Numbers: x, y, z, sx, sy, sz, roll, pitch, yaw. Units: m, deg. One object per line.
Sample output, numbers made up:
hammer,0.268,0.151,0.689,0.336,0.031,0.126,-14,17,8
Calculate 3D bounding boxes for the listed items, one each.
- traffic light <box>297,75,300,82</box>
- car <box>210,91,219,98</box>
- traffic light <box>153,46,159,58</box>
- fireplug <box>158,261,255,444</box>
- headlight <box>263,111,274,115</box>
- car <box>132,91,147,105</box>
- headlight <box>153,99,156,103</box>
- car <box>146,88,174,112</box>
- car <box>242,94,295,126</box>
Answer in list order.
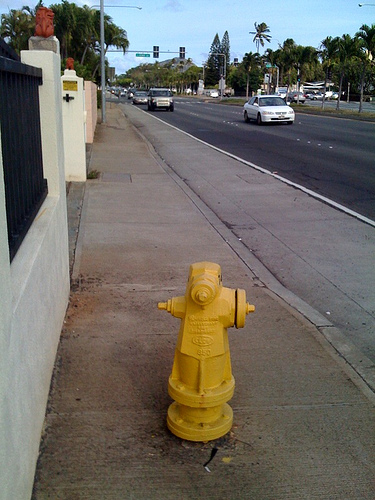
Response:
traffic light,15.521,-24.095,58.883,0.252,0.796,0.680,6,13,21
car,6.409,-36.801,99.927,1.910,1.615,4.705,2,13,1
traffic light,-4.838,-30.133,64.152,0.608,1.622,1.357,3,12,4
fireplug,0.077,0.563,2.564,0.457,1.101,0.545,0,12,-3
headlight,5.625,-9.584,29.389,0.701,0.238,0.224,4,13,8
car,-6.973,-22.188,61.406,1.347,1.197,3.131,-2,11,-9
headlight,-3.560,-16.006,45.098,0.068,0.281,0.287,-4,27,-39
car,-2.959,-16.566,46.261,2.703,2.588,2.874,1,13,-4
car,5.663,-10.438,31.202,1.829,1.463,4.252,-3,19,-9
